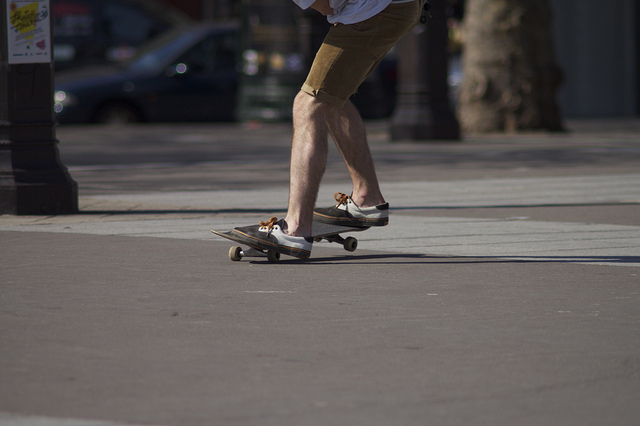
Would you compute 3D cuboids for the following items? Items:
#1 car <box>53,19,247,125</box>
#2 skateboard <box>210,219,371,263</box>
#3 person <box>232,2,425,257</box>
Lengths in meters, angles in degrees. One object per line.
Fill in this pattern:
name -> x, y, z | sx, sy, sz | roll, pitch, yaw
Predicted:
car -> -3.386, -2.711, 21.505 | 4.773, 1.530, 2.080 | -4, 8, -34
skateboard -> -0.159, 0.148, 6.632 | 0.314, 0.201, 1.244 | 11, 11, 36
person -> 0.099, -0.519, 6.590 | 0.712, 1.583, 0.945 | 5, 7, 25
